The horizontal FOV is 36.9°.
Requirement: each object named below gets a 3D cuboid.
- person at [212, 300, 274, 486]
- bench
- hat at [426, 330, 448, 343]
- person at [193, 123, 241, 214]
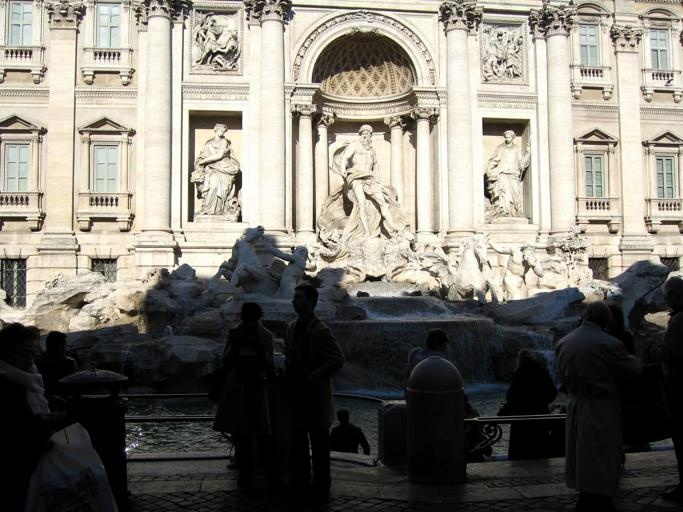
[{"bbox_3d":[-1.543,2.266,16.805,0.982,3.002,0.444,0,-4,-5],"label":"person"},{"bbox_3d":[3.040,3.085,17.679,1.686,0.776,1.314,-1,-4,6],"label":"bench"},{"bbox_3d":[1.686,1.383,17.822,0.322,0.218,0.235,0,-4,0],"label":"hat"},{"bbox_3d":[-4.148,-2.813,34.232,1.467,3.190,0.441,0,-4,-6],"label":"person"}]
